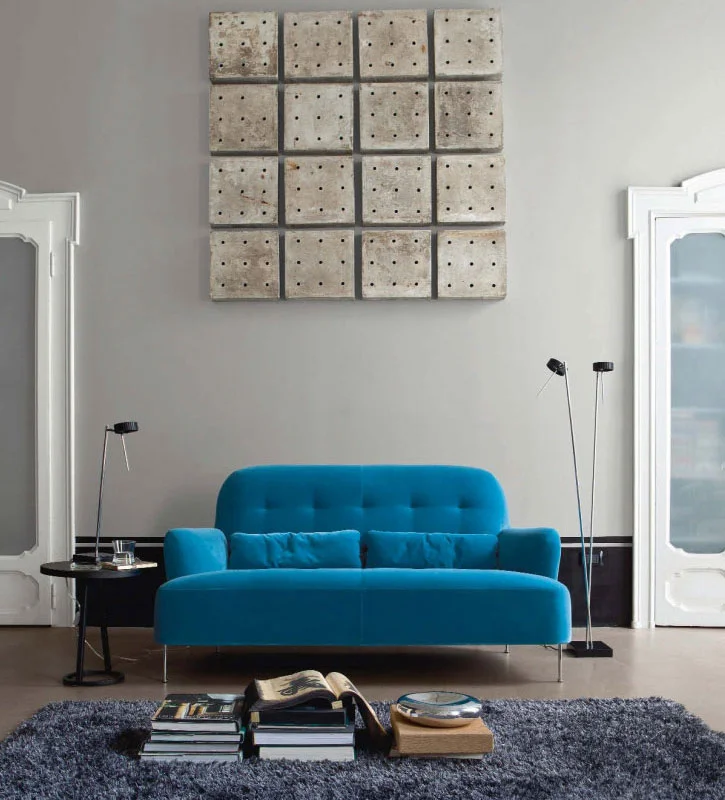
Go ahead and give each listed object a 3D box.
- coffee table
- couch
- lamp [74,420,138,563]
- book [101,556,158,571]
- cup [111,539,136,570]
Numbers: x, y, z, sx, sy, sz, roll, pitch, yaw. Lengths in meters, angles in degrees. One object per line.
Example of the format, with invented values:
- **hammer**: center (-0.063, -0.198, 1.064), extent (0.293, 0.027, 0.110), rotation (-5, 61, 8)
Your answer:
- **coffee table**: center (-1.085, 0.888, 4.443), extent (0.334, 0.413, 0.350), rotation (-4, -1, 25)
- **couch**: center (0.000, 0.721, 4.684), extent (1.650, 0.819, 0.853), rotation (0, 2, 0)
- **lamp**: center (-1.180, 0.378, 5.070), extent (0.204, 0.567, 0.121), rotation (3, -6, 11)
- **book**: center (-0.930, 0.643, 4.363), extent (0.223, 0.044, 0.131), rotation (-1, 2, -35)
- **cup**: center (-0.936, 0.614, 4.399), extent (0.081, 0.139, 0.113), rotation (-8, -12, 41)
